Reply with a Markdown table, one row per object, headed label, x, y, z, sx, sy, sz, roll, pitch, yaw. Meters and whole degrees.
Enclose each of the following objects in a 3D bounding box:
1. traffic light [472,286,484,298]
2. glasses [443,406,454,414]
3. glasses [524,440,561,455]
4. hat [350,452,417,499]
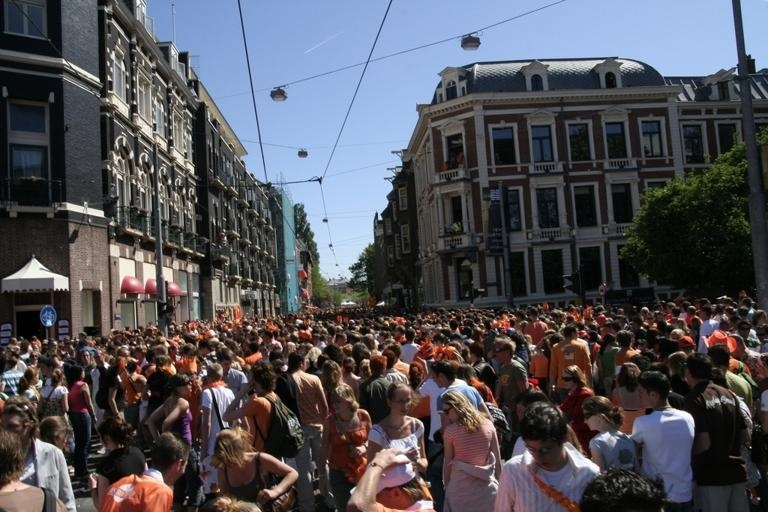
| label | x | y | z | sx | sy | sz | roll | pitch | yaw |
| --- | --- | --- | --- | --- | --- | --- | --- | --- | --- |
| traffic light | 5.551 | 2.070 | 45.786 | 0.842 | 0.822 | 0.448 | -7 | -15 | 34 |
| glasses | 1.001 | 2.407 | 12.339 | 0.124 | 0.131 | 0.229 | 0 | -7 | -25 |
| glasses | 2.238 | 2.645 | 10.904 | 0.502 | 0.211 | 0.121 | -3 | -7 | -2 |
| hat | -0.087 | 2.979 | 10.604 | 0.865 | 0.475 | 0.561 | -21 | 15 | -28 |
